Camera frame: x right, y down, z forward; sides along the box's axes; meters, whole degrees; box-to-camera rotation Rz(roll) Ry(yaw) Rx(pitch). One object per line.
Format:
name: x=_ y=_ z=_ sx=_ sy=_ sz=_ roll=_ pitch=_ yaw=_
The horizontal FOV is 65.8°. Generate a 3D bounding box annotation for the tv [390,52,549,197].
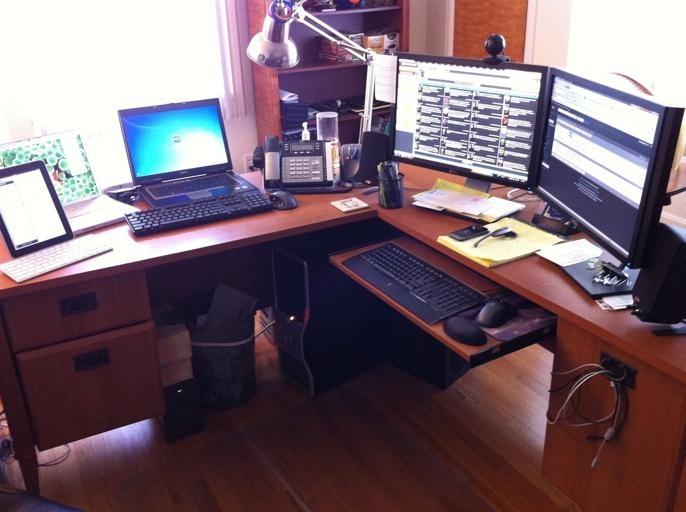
tv: x=0.503 y=-0.582 z=2.201 sx=0.137 sy=0.477 sz=0.708 roll=-29 pitch=37 yaw=-36

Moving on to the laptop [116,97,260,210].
laptop: x=-0.685 y=-0.460 z=2.400 sx=0.506 sy=0.325 sz=0.453 roll=-21 pitch=45 yaw=-34

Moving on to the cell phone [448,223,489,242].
cell phone: x=0.483 y=-0.102 z=2.020 sx=0.118 sy=0.030 sz=0.069 roll=-18 pitch=33 yaw=-27

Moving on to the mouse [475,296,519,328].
mouse: x=0.496 y=0.170 z=1.719 sx=0.078 sy=0.044 sz=0.124 roll=25 pitch=45 yaw=38

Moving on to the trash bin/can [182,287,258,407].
trash bin/can: x=-0.563 y=0.433 z=2.421 sx=0.355 sy=0.476 sz=0.383 roll=-11 pitch=28 yaw=-26
